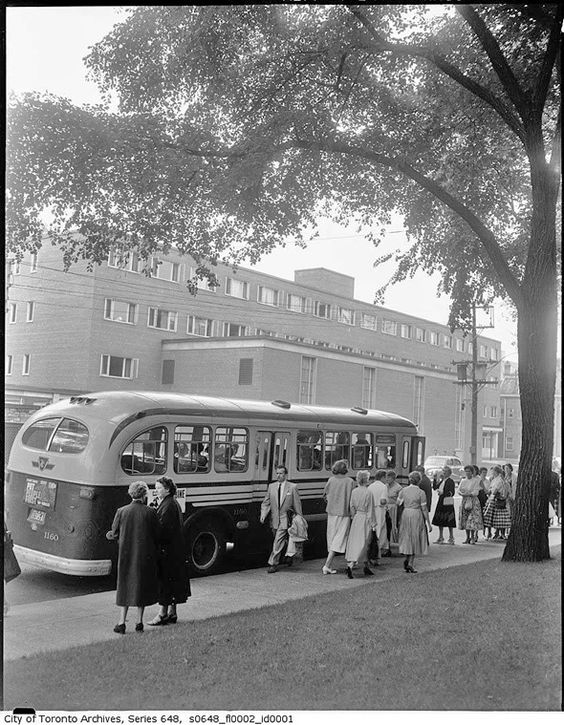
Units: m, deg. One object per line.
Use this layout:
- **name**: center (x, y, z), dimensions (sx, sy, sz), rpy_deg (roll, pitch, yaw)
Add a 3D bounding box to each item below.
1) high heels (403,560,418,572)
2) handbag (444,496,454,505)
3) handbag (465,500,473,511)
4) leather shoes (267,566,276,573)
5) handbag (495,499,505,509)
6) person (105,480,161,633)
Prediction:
- **high heels**: center (2.369, 3.731, 11.415), dimensions (0.136, 0.245, 0.456), rpy_deg (0, -8, 17)
- **handbag**: center (4.078, 3.388, 15.170), dimensions (0.165, 0.203, 0.052), rpy_deg (0, -24, 9)
- **handbag**: center (4.675, 3.552, 15.453), dimensions (0.083, 0.270, 0.198), rpy_deg (8, -5, -33)
- **leather shoes**: center (-0.181, 3.705, 11.083), dimensions (0.067, 0.087, 0.188), rpy_deg (-2, -13, 11)
- **handbag**: center (5.483, 3.521, 15.503), dimensions (0.229, 0.264, 0.227), rpy_deg (3, 9, 30)
- **person**: center (-1.501, 1.866, 6.357), dimensions (0.580, 1.177, 0.329), rpy_deg (8, 2, -11)
